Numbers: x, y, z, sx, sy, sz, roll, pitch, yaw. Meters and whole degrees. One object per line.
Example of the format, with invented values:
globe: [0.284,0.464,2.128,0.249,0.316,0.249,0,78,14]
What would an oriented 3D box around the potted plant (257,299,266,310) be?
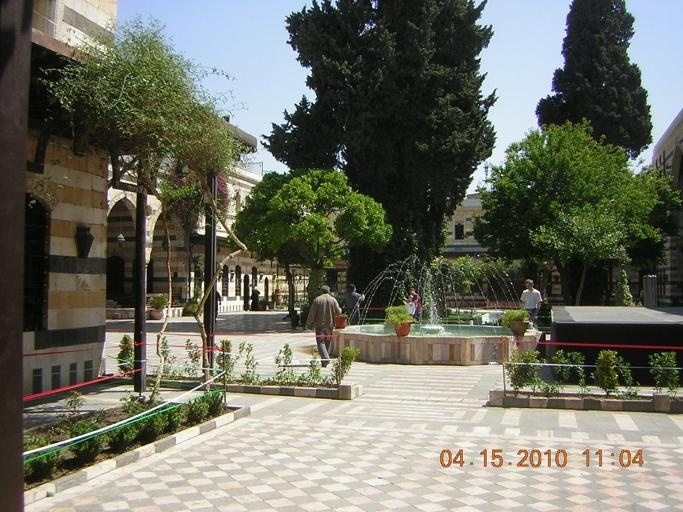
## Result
potted plant: [-6.463,3.967,45.373,0.641,0.727,0.663,3,-7,-23]

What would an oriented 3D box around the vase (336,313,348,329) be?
vase: [0.038,2.399,20.800,0.492,0.399,0.499,3,-6,-34]

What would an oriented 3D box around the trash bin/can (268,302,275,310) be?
trash bin/can: [-5.775,4.040,46.381,0.330,0.755,1.071,-1,-7,12]

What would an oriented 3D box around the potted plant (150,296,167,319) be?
potted plant: [-10.601,2.915,32.393,1.227,1.508,1.116,3,-7,-11]

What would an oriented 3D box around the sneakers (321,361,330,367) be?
sneakers: [-0.451,2.943,15.429,0.189,0.215,0.245,1,-18,6]

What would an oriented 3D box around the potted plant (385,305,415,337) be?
potted plant: [1.702,1.930,16.743,0.800,0.921,0.847,-7,-11,28]

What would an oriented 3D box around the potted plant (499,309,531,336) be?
potted plant: [5.262,1.994,16.960,0.663,0.758,0.697,-4,-5,31]

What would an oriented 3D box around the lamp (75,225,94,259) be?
lamp: [-5.832,-0.336,12.772,0.249,0.740,0.422,-2,-7,19]
